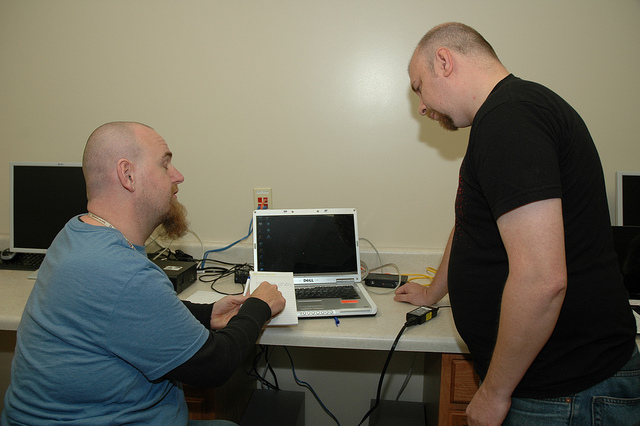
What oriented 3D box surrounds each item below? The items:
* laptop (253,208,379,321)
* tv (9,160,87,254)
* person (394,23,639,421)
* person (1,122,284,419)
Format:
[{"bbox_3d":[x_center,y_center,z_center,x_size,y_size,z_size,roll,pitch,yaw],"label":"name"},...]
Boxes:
[{"bbox_3d":[-0.042,0.207,2.300,0.531,0.373,0.470,-2,14,-13],"label":"laptop"},{"bbox_3d":[-1.276,-0.042,2.441,0.443,0.342,0.020,1,2,3],"label":"tv"},{"bbox_3d":[0.972,-0.152,2.731,1.193,2.450,1.023,1,12,32],"label":"person"},{"bbox_3d":[-0.761,0.088,2.374,1.107,1.724,0.773,-8,18,-27],"label":"person"}]
